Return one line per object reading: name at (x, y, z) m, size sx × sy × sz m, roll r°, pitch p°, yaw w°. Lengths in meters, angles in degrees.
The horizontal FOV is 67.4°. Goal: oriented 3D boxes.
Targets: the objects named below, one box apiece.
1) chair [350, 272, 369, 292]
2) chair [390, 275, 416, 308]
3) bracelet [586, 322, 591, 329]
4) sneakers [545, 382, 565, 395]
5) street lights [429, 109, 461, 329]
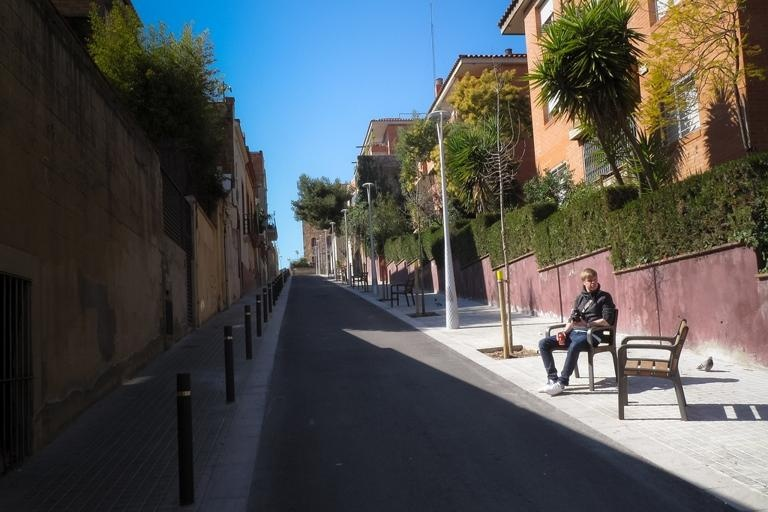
chair at (-1.880, 1.817, 41.730) m, size 1.122 × 2.330 × 1.421 m, roll -1°, pitch -8°, yaw 10°
chair at (0.818, 1.722, 26.430) m, size 1.001 × 1.938 × 1.087 m, roll 0°, pitch -2°, yaw 3°
bracelet at (3.428, 1.187, 9.665) m, size 0.064 × 0.068 × 0.059 m, roll -1°, pitch 1°, yaw 12°
sneakers at (2.787, 2.191, 9.465) m, size 0.279 × 0.150 × 0.163 m, roll 6°, pitch -9°, yaw -32°
street lights at (1.834, -1.246, 16.963) m, size 0.738 × 5.897 × 0.777 m, roll 6°, pitch 18°, yaw 37°
